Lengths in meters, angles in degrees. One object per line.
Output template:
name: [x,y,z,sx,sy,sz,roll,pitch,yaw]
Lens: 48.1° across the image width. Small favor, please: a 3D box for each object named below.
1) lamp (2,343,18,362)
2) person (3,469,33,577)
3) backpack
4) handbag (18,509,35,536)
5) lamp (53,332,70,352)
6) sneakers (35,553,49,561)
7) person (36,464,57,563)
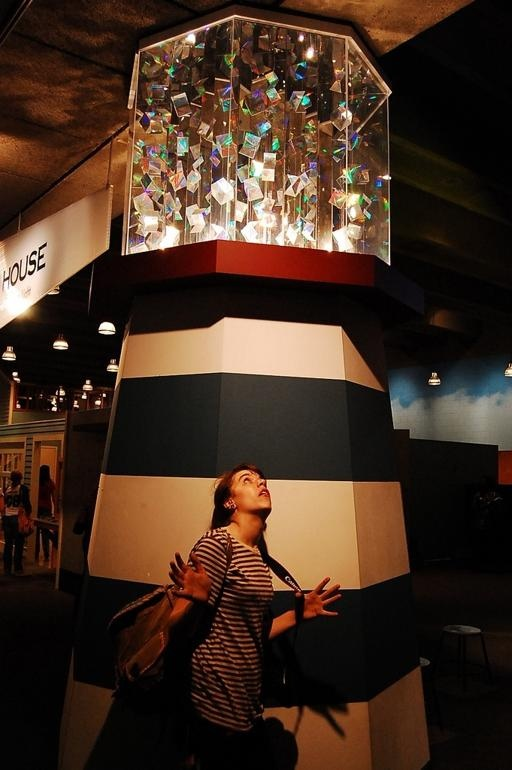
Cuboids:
lamp: [-5.750,-0.766,13.346,0.289,0.371,0.325,0,-4,-6]
person: [-3.400,1.955,8.080,0.396,1.431,0.863,5,-10,-23]
backpack: [-0.288,0.778,1.935,0.465,0.489,0.318,-31,-44,12]
handbag: [-3.172,1.893,7.882,0.140,0.359,0.310,1,-9,6]
lamp: [-4.090,-0.919,11.997,0.360,0.438,0.366,-2,3,-36]
sneakers: [-3.474,2.792,9.286,0.175,0.155,0.185,-13,-24,35]
person: [-3.251,2.020,8.864,0.299,1.523,1.953,5,-10,-20]
